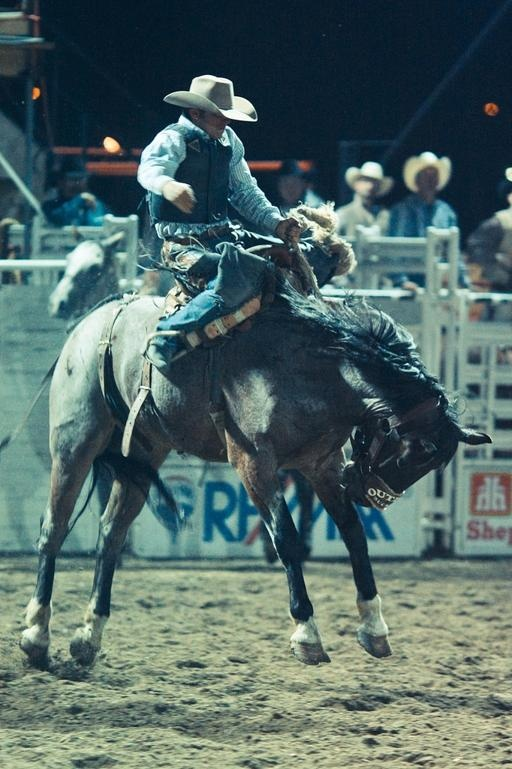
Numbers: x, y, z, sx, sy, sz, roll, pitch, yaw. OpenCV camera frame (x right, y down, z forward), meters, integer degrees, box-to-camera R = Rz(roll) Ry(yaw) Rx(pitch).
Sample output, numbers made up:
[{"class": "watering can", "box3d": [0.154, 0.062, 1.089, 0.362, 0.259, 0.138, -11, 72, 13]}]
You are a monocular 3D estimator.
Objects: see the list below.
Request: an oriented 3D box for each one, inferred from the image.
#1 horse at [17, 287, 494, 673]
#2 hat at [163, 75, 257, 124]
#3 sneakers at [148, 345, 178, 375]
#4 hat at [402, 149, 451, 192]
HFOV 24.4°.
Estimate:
[{"class": "horse", "box3d": [-0.109, 0.454, 5.564, 2.387, 1.797, 0.654, -2, -1, 34]}, {"class": "hat", "box3d": [-0.196, -1.267, 5.254, 0.344, 0.128, 0.261, 14, 8, 2]}, {"class": "sneakers", "box3d": [-0.423, -0.115, 5.338, 0.132, 0.127, 0.254, 3, -1, -4]}, {"class": "hat", "box3d": [1.343, -1.685, 9.320, 0.389, 0.162, 0.405, 5, -33, -2]}]
